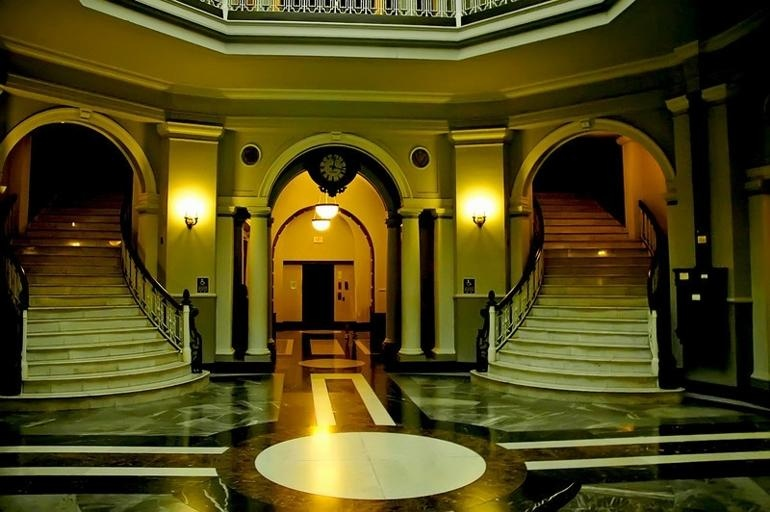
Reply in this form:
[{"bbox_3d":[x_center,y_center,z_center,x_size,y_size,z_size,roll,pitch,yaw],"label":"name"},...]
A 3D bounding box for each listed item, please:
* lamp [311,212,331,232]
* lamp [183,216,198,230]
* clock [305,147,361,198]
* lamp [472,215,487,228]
[{"bbox_3d":[-1.907,-0.956,16.371,0.618,0.393,0.610,0,-6,-3],"label":"lamp"},{"bbox_3d":[-3.953,-0.674,11.191,0.291,0.370,0.121,0,-1,-23],"label":"lamp"},{"bbox_3d":[-1.149,-1.907,12.181,1.089,1.208,0.133,0,31,-11],"label":"clock"},{"bbox_3d":[1.978,-0.724,11.547,0.280,0.271,0.092,0,6,5],"label":"lamp"}]
